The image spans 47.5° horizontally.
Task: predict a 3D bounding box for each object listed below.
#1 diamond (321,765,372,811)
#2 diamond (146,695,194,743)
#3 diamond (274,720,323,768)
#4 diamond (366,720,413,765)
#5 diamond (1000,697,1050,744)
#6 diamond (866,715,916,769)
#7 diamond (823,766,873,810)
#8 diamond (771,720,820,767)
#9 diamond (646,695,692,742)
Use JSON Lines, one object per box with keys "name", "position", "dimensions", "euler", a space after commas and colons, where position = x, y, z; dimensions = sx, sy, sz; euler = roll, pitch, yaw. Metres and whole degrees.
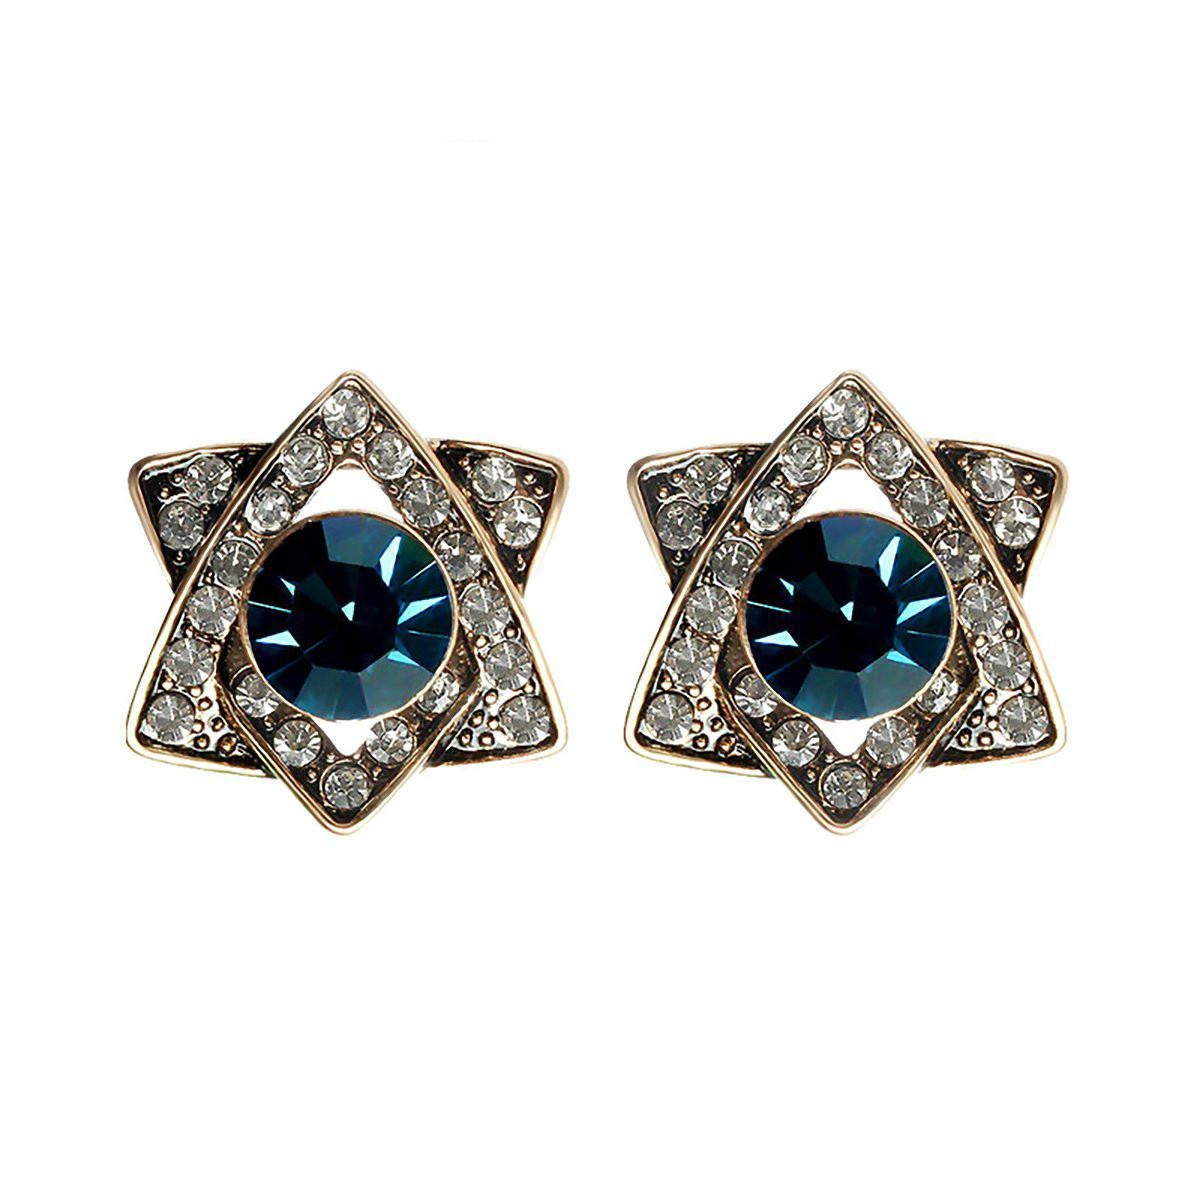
{"name": "diamond", "position": [-0.623, 0.454, 3.333], "dimensions": [0.122, 0.039, 0.101], "euler": [5, -100, -2]}
{"name": "diamond", "position": [-1.061, 0.289, 3.361], "dimensions": [0.109, 0.032, 0.126], "euler": [13, -81, -2]}
{"name": "diamond", "position": [-0.744, 0.349, 3.356], "dimensions": [0.105, 0.039, 0.113], "euler": [-41, -83, 7]}
{"name": "diamond", "position": [-0.519, 0.348, 3.364], "dimensions": [0.109, 0.041, 0.106], "euler": [-31, -82, 5]}
{"name": "diamond", "position": [1.058, 0.300, 3.405], "dimensions": [0.113, 0.037, 0.122], "euler": [-32, -82, 5]}
{"name": "diamond", "position": [0.719, 0.349, 3.377], "dimensions": [0.121, 0.046, 0.113], "euler": [-42, -83, 7]}
{"name": "diamond", "position": [0.602, 0.459, 3.351], "dimensions": [0.109, 0.043, 0.112], "euler": [39, -82, -6]}
{"name": "diamond", "position": [0.484, 0.352, 3.373], "dimensions": [0.108, 0.038, 0.111], "euler": [40, -83, -6]}
{"name": "diamond", "position": [0.171, 0.292, 3.386], "dimensions": [0.120, 0.027, 0.126], "euler": [17, -81, -3]}
